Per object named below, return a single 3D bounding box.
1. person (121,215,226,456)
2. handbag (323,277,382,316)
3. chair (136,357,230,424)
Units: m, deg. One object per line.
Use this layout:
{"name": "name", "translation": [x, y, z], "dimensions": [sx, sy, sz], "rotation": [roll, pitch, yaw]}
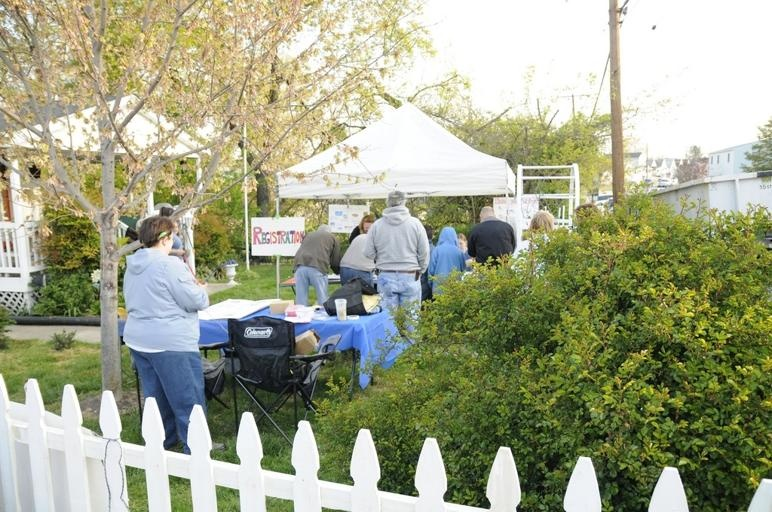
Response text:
{"name": "person", "translation": [-2.077, 0.765, 6.893], "dimensions": [0.794, 2.286, 0.448], "rotation": [0, 0, 8]}
{"name": "handbag", "translation": [-0.366, 0.481, 8.305], "dimensions": [0.471, 0.265, 0.417], "rotation": [-1, 3, 3]}
{"name": "chair", "translation": [-2.150, 1.356, 7.767], "dimensions": [0.765, 0.980, 0.649], "rotation": [-3, -6, -18]}
